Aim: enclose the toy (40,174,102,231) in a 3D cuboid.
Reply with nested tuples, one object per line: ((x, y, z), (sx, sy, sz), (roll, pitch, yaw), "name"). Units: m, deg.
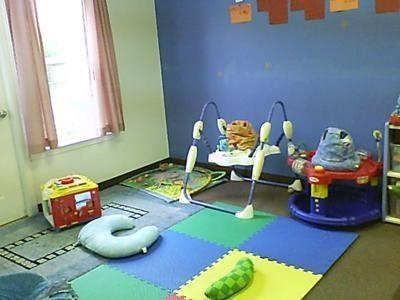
((-1.230, 0.474, 2.991), (0.485, 0.416, 0.474), (-8, 15, -29), "toy")

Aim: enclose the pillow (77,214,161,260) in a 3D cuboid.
((-0.666, 0.718, 2.642), (0.648, 0.148, 0.491), (9, 20, 33), "pillow")
